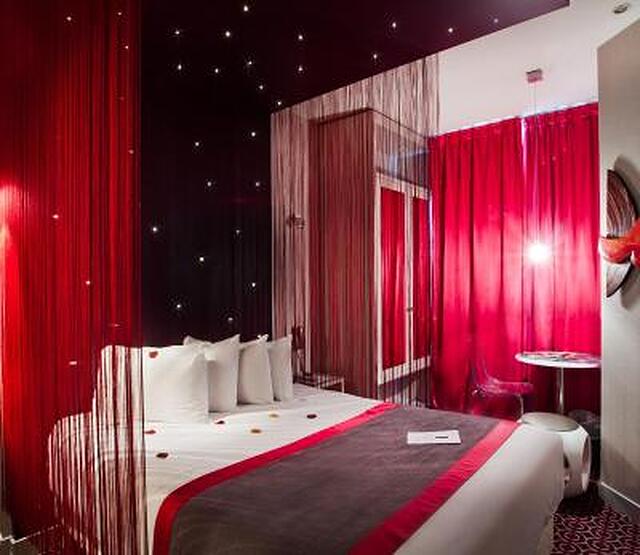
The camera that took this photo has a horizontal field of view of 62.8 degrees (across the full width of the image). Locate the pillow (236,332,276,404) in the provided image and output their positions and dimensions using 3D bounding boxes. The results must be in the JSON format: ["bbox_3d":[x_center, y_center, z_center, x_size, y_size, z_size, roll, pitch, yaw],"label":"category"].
[{"bbox_3d":[-0.436,0.630,3.535,0.292,0.454,0.149,-2,-13,1],"label":"pillow"}]

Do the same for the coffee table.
[{"bbox_3d":[1.927,0.901,4.222,0.366,0.495,0.438,8,-20,-6],"label":"coffee table"}]

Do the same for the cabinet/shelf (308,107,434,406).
[{"bbox_3d":[0.534,0.001,4.195,0.677,2.241,0.403,1,-4,-36],"label":"cabinet/shelf"}]

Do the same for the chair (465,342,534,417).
[{"bbox_3d":[1.666,0.972,4.898,0.521,0.948,0.563,-4,-4,30],"label":"chair"}]
